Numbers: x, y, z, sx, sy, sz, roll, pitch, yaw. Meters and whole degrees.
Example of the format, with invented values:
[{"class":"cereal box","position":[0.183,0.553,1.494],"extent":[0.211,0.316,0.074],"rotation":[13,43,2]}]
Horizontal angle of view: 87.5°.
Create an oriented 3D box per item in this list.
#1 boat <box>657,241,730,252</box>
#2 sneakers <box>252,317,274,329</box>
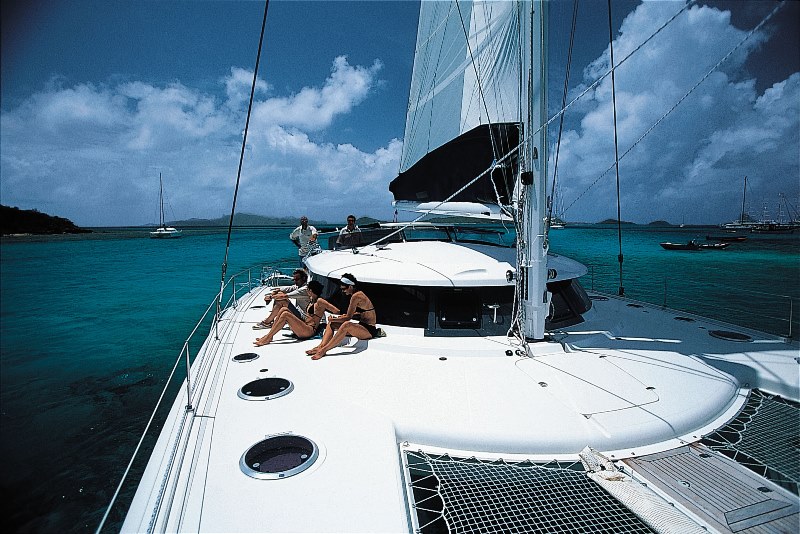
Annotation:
[{"class":"boat","position":[32.325,-2.177,45.955],"extent":[5.583,1.076,1.656],"rotation":[1,-3,14]},{"class":"sneakers","position":[-2.747,1.130,8.190],"extent":[0.522,0.192,0.184],"rotation":[1,1,-9]}]
